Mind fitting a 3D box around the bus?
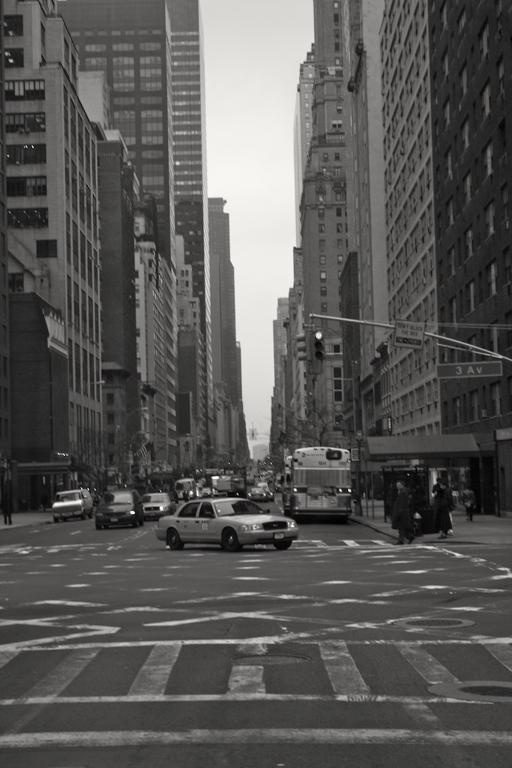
[{"bbox_3d":[2.769,4.234,40.315,2.704,2.919,1.673,-5,-6,16],"label":"bus"}]
